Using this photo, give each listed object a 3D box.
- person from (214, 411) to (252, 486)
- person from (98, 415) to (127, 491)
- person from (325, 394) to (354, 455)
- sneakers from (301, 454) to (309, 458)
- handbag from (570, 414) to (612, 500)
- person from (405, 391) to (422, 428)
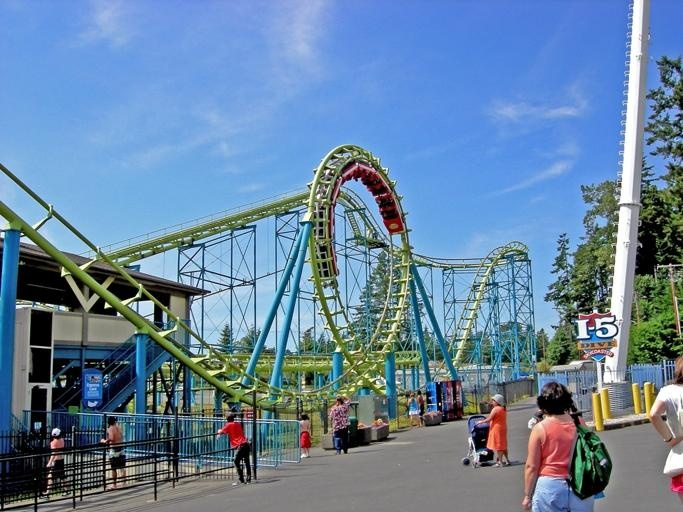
[{"bbox_3d":[-2.645,4.911,17.910,0.755,1.715,1.384,-1,-17,-10],"label":"person"},{"bbox_3d":[-5.729,4.985,17.957,0.560,1.803,0.979,1,-17,-17],"label":"person"},{"bbox_3d":[-0.042,5.354,22.166,0.588,1.728,1.431,-4,-16,-1],"label":"person"},{"bbox_3d":[-1.143,6.161,21.600,0.098,0.111,0.284,-6,-14,-28],"label":"sneakers"},{"bbox_3d":[3.340,2.744,9.646,0.530,1.118,0.451,-12,-18,26],"label":"handbag"},{"bbox_3d":[3.248,6.932,31.766,0.494,1.519,1.114,-5,-16,5],"label":"person"}]
